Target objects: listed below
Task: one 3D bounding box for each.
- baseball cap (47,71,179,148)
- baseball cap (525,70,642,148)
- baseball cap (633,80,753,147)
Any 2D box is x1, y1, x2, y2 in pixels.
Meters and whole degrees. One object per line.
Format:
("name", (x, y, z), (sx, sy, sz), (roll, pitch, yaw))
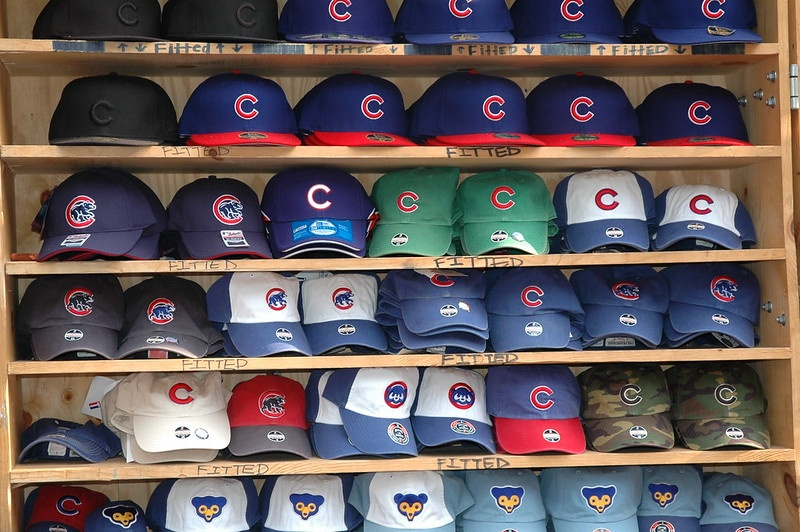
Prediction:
("baseball cap", (-1.106, -0.601, 3.244), (0.417, 0.298, 0.176), (1, -86, 12))
("baseball cap", (0.739, -0.636, 3.371), (0.319, 0.396, 0.155), (0, -80, -4))
("baseball cap", (1.203, -0.611, 3.448), (0.309, 0.387, 0.154), (0, -86, -5))
